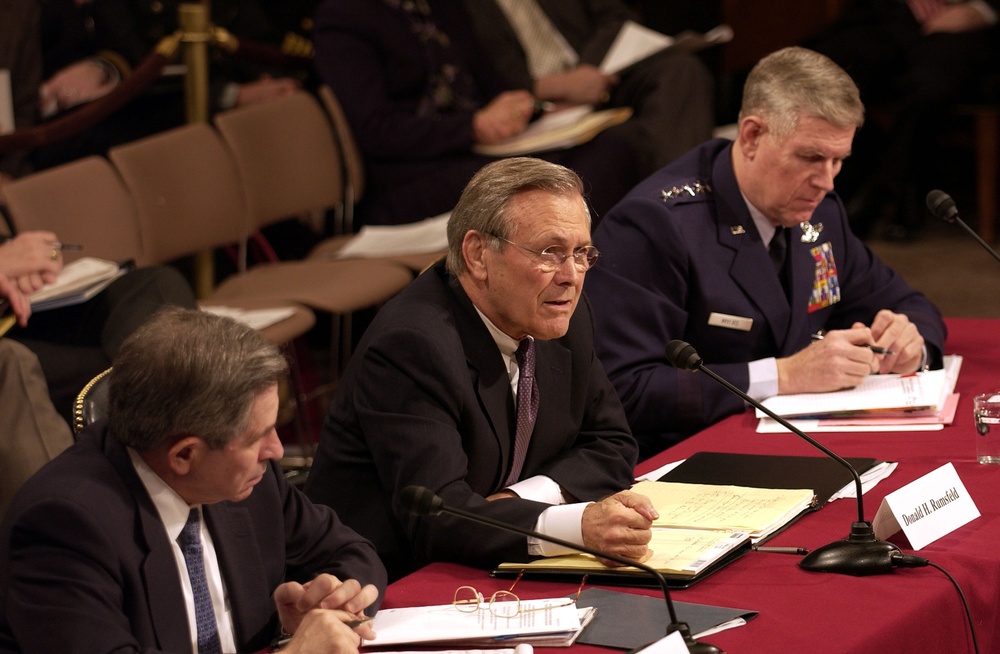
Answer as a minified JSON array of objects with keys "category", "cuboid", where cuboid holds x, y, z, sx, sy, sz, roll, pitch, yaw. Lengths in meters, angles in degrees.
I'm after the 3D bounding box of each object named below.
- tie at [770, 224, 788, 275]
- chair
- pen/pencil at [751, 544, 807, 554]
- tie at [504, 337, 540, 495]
[{"category":"tie","cuboid":[0.949,-0.257,3.497,0.084,0.135,0.034,-2,7,-14]},{"category":"chair","cuboid":[-0.889,-0.148,3.066,1.336,0.831,0.522,-24,38,-37]},{"category":"pen/pencil","cuboid":[0.636,0.503,2.348,0.083,0.013,0.012,2,62,16]},{"category":"tie","cuboid":[0.072,0.237,2.782,0.070,0.425,0.067,20,-19,-32]}]
